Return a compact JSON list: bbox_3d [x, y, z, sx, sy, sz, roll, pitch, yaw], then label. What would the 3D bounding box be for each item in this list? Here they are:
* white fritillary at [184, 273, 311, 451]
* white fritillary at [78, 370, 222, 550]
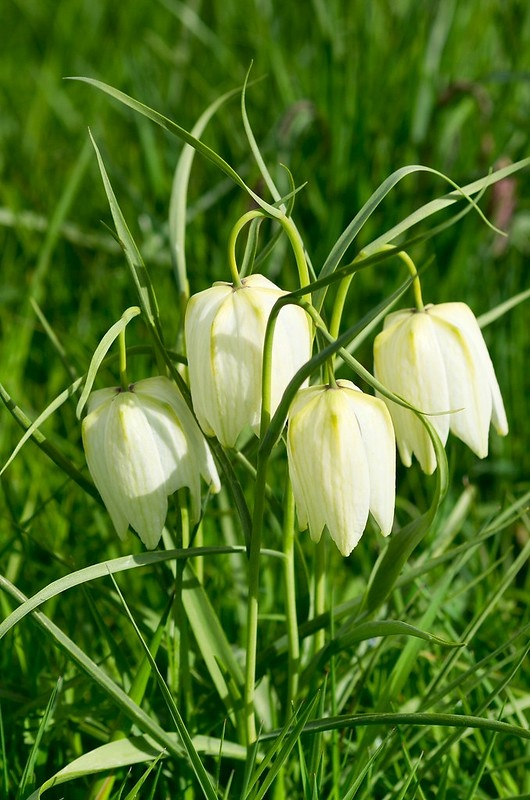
[{"bbox_3d":[-0.021,-0.032,0.673,0.089,0.144,0.090,14,21,35],"label":"white fritillary"},{"bbox_3d":[-0.106,0.053,0.692,0.088,0.134,0.102,-10,-1,38],"label":"white fritillary"}]
